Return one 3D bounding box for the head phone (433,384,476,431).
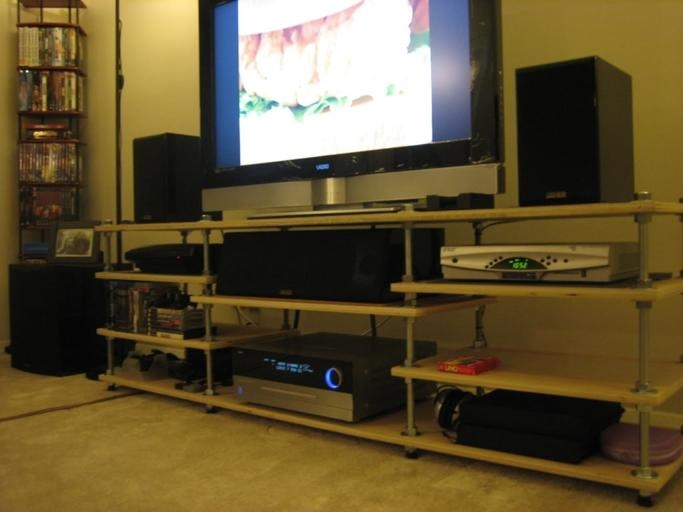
[{"bbox_3d":[0.385,0.533,2.189,0.119,0.128,0.129,-7,-28,-14],"label":"head phone"}]

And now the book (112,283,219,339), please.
[{"bbox_3d":[-0.853,0.223,2.881,0.363,0.170,0.275,3,5,30],"label":"book"}]

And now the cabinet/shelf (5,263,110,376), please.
[{"bbox_3d":[-1.494,0.348,3.324,0.630,0.569,0.330,1,1,29],"label":"cabinet/shelf"}]
